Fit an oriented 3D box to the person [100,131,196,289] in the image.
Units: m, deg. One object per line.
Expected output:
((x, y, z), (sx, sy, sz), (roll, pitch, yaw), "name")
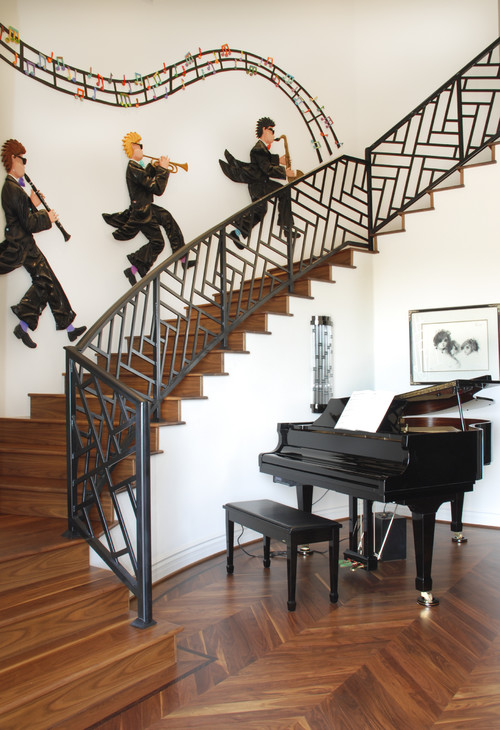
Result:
((-0.908, -1.351, 5.504), (0.223, 1.317, 0.789), (-1, -1, 35), "person")

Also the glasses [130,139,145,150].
((-0.968, -1.886, 5.408), (0.093, 0.032, 0.094), (3, 8, 19), "glasses")

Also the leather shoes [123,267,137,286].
((-1.007, -0.762, 5.415), (0.135, 0.157, 0.083), (0, -1, -41), "leather shoes")

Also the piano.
((0.831, 0.576, 3.891), (1.261, 1.275, 1.222), (3, -5, -38), "piano")

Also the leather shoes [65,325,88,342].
((-1.353, -0.254, 5.013), (0.057, 0.125, 0.170), (14, 34, 31), "leather shoes")

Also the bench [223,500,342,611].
((0.174, 1.028, 3.520), (0.350, 0.426, 0.750), (0, -1, -26), "bench")

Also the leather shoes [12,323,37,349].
((-1.676, -0.212, 4.734), (0.103, 0.216, 0.069), (-20, 32, 25), "leather shoes")
